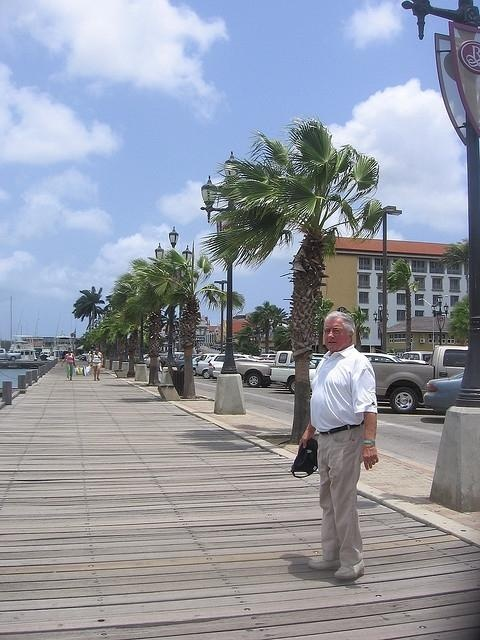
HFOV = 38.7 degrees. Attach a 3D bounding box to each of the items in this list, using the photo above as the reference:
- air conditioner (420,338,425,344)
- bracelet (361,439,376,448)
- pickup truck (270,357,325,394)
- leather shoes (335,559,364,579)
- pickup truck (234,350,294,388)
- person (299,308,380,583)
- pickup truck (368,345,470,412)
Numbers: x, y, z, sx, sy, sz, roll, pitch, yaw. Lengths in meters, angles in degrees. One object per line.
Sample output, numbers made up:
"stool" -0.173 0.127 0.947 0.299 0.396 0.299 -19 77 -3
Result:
"air conditioner" 24.017 2.817 89.885 0.744 0.730 0.527 0 4 7
"bracelet" 0.767 0.729 4.033 0.062 0.050 0.045 1 -3 -8
"pickup truck" 2.309 2.108 26.520 2.978 1.263 1.655 -5 -6 32
"leather shoes" 0.659 1.517 4.103 0.075 0.084 0.211 -13 -24 34
"pickup truck" 1.138 2.400 31.511 2.735 0.952 1.421 -1 -2 24
"person" 0.635 0.764 4.213 0.298 1.614 0.488 1 -3 -18
"pickup truck" 4.466 1.519 17.787 3.265 1.390 1.811 -2 0 -3
